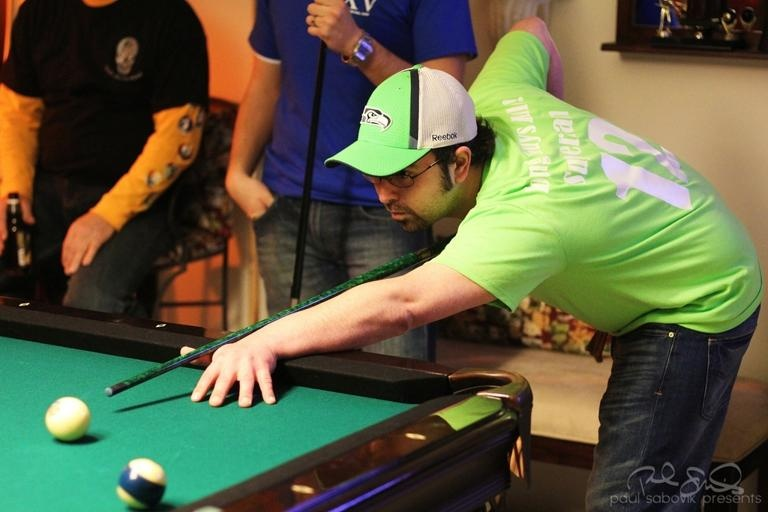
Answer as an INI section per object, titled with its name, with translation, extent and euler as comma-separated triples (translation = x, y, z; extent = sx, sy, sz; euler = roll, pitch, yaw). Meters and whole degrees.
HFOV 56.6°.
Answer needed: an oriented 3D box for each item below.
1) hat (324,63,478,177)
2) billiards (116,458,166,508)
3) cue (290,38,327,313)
[hat]
translation = 0.070, -0.374, 2.047
extent = 0.408, 0.213, 0.254
euler = -23, 28, -22
[billiards]
translation = -0.470, 0.437, 1.372
extent = 0.097, 0.091, 0.055
euler = 3, 3, -6
[cue]
translation = -0.346, -0.293, 2.647
extent = 0.154, 0.953, 0.157
euler = 5, 18, -9
